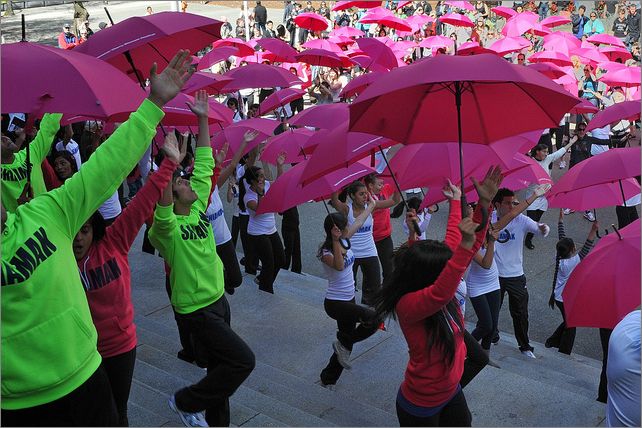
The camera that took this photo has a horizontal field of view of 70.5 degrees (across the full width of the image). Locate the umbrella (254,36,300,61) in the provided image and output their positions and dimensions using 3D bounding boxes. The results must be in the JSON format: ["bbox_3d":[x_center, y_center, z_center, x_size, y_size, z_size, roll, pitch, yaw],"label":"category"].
[{"bbox_3d":[-1.350,-4.801,13.781,0.833,0.405,0.841,42,24,22],"label":"umbrella"}]

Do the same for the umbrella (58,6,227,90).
[{"bbox_3d":[-2.023,-2.011,5.357,1.347,0.862,1.407,-32,14,-28],"label":"umbrella"}]

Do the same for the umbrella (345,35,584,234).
[{"bbox_3d":[1.234,-0.443,4.247,1.586,1.421,1.651,-4,-9,3],"label":"umbrella"}]

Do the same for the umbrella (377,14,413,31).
[{"bbox_3d":[3.015,-7.882,18.728,0.887,0.440,0.935,12,10,-2],"label":"umbrella"}]

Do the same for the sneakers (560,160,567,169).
[{"bbox_3d":[7.744,-1.613,14.782,0.149,0.146,0.340,-3,24,27],"label":"sneakers"}]

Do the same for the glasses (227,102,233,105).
[{"bbox_3d":[-2.425,-2.963,12.241,0.119,0.048,0.129,16,-17,19],"label":"glasses"}]

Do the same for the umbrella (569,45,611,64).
[{"bbox_3d":[9.078,-5.488,15.609,0.857,0.358,0.883,31,33,24],"label":"umbrella"}]

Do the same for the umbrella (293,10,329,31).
[{"bbox_3d":[-0.343,-7.905,18.382,0.965,0.350,0.938,27,-18,-39],"label":"umbrella"}]

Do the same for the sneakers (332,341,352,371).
[{"bbox_3d":[0.255,1.624,5.354,0.163,0.380,0.137,-18,-3,12],"label":"sneakers"}]

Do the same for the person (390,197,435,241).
[{"bbox_3d":[1.619,0.096,8.228,0.468,0.342,0.893,-19,-7,18],"label":"person"}]

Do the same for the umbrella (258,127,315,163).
[{"bbox_3d":[-0.616,-1.281,8.301,0.748,0.378,0.730,-39,32,-23],"label":"umbrella"}]

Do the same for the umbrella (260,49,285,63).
[{"bbox_3d":[-1.596,-5.233,15.182,0.638,0.685,0.653,-6,24,-33],"label":"umbrella"}]

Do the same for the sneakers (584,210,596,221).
[{"bbox_3d":[6.572,0.045,11.303,0.126,0.124,0.296,-37,38,6],"label":"sneakers"}]

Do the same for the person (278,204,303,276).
[{"bbox_3d":[-0.608,0.558,9.001,0.470,0.479,1.382,0,-32,5],"label":"person"}]

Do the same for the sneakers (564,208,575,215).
[{"bbox_3d":[5.744,-0.073,10.695,0.253,0.113,0.093,-14,40,-28],"label":"sneakers"}]

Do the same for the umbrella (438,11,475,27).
[{"bbox_3d":[5.497,-8.269,19.369,1.058,0.364,1.052,1,18,-32],"label":"umbrella"}]

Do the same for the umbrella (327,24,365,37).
[{"bbox_3d":[1.001,-7.398,18.449,0.905,0.318,0.968,7,27,22],"label":"umbrella"}]
